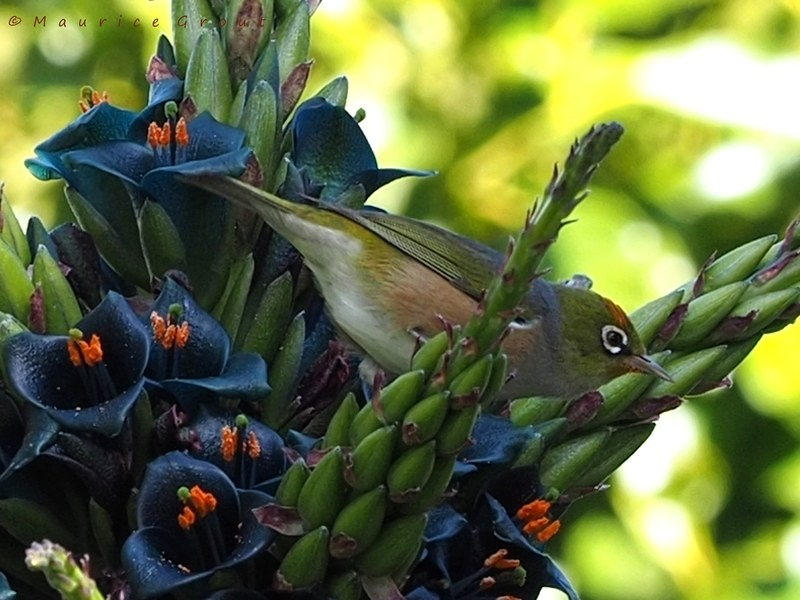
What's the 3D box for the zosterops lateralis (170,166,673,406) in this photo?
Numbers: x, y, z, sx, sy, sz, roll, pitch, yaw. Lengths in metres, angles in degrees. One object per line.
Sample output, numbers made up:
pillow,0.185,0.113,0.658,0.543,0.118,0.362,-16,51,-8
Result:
zosterops lateralis,0.032,-0.010,1.644,0.519,0.185,0.141,32,-31,-2
